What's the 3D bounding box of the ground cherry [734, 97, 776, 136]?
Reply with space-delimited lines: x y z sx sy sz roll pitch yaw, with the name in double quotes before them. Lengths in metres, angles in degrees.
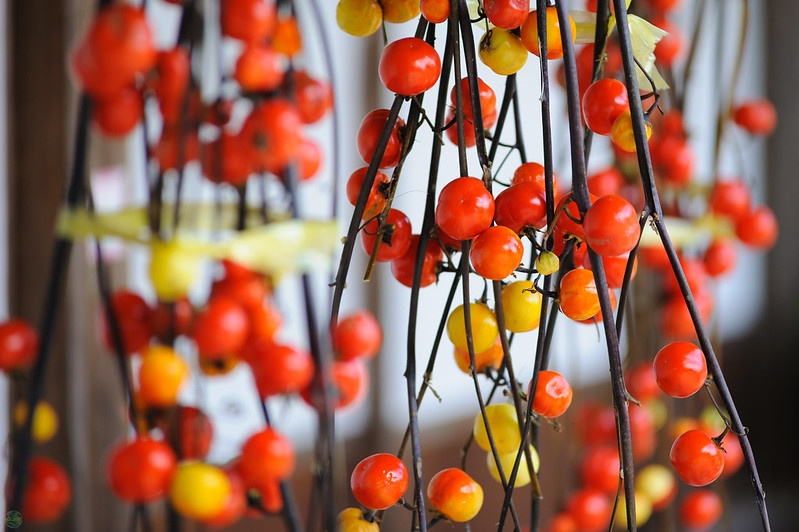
"ground cherry" 0.380 -0.162 1.476 0.042 0.033 0.041 3 -13 -13
